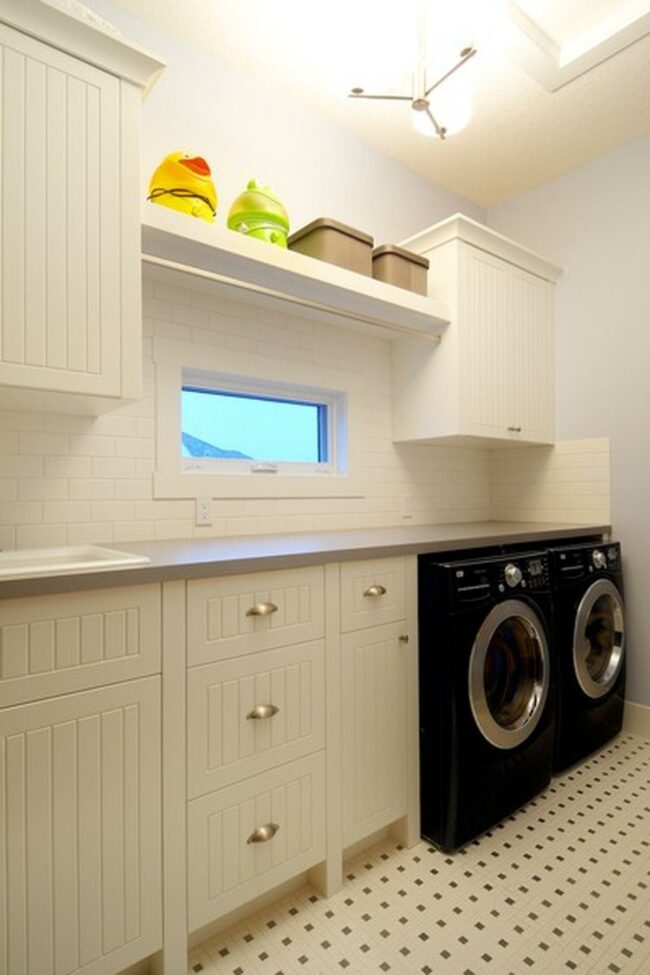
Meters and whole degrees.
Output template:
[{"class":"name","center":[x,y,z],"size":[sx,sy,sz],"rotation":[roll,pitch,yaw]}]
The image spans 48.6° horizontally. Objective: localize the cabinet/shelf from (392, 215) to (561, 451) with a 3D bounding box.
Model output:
[{"class":"cabinet/shelf","center":[0.583,-0.577,2.818],"size":[0.944,1.028,0.459],"rotation":[3,-4,-45]}]

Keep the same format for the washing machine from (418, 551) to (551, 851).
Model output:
[{"class":"washing machine","center":[0.443,0.592,2.267],"size":[0.557,0.757,0.436],"rotation":[-3,1,-32]}]
